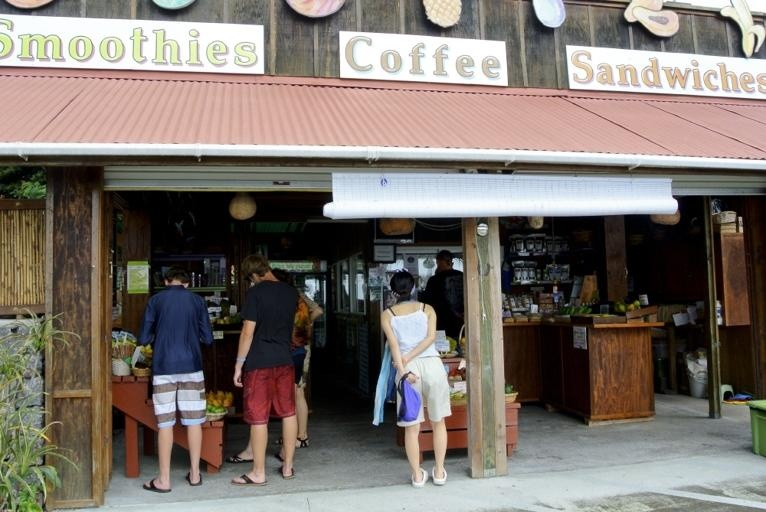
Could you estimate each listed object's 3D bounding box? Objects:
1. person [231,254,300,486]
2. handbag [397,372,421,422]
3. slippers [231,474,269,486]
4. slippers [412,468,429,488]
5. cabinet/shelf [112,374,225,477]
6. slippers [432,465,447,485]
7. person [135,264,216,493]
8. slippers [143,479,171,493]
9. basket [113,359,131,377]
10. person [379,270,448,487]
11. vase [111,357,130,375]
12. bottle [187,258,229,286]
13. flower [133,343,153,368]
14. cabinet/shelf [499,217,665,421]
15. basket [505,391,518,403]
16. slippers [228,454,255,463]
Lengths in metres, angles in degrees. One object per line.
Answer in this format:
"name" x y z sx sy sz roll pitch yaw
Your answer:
"person" -1.374 1.281 8.269 0.782 2.547 0.620 -3 5 -20
"handbag" 0.293 1.578 7.944 0.246 0.527 0.123 -1 5 0
"slippers" -1.534 2.511 8.055 0.313 0.083 0.148 5 -10 -3
"slippers" 0.416 2.473 8.060 0.191 0.168 0.348 0 5 10
"cabinet/shelf" -2.577 1.989 8.728 1.282 0.918 1.100 0 1 -7
"slippers" 0.632 2.447 8.046 0.172 0.211 0.236 -1 5 5
"person" -2.378 1.390 8.131 0.817 2.432 0.543 -3 5 -19
"slippers" -2.561 2.594 7.997 0.257 0.081 0.142 5 -4 10
"basket" -3.154 1.337 8.512 0.198 0.184 0.194 2 -7 -34
"person" 0.375 1.371 8.100 0.758 2.357 0.591 0 5 8
"vase" -3.136 1.309 8.436 0.195 0.182 0.197 -6 -6 42
"bottle" -3.030 0.274 12.262 0.682 0.473 0.218 0 -4 23
"flower" -2.990 1.263 8.754 0.127 0.052 0.480 23 -37 -14
"cabinet/shelf" 2.798 0.998 11.235 1.898 2.724 3.099 2 -4 -11
"basket" 1.566 1.730 8.699 0.187 0.072 0.185 -2 -4 9
"slippers" -1.756 2.502 8.774 0.293 0.069 0.106 5 -10 -13
